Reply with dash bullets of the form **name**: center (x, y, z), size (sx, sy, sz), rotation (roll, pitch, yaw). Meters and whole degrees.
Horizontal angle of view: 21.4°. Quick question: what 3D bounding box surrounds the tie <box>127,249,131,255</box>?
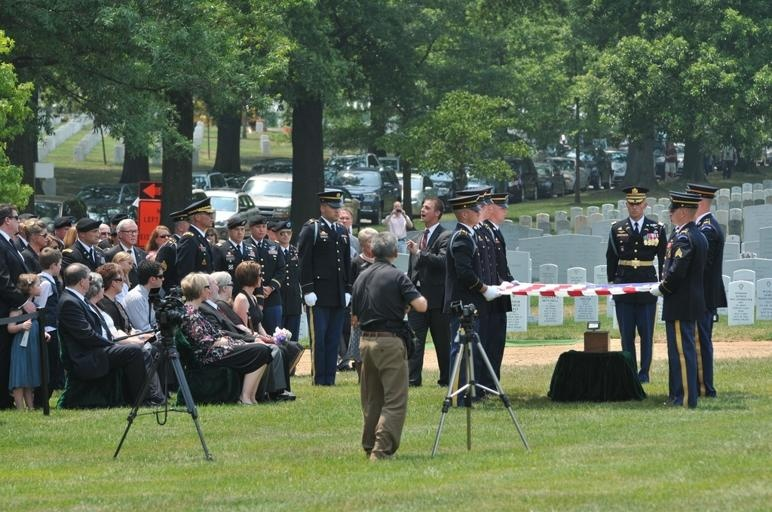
- **tie**: center (-6.182, -0.065, 48.487), size (0.126, 0.138, 0.037), rotation (-3, -15, -9)

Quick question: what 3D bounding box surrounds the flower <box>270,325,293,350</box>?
- **flower**: center (-2.499, 1.972, 47.629), size (0.415, 0.415, 0.209), rotation (0, 17, -6)

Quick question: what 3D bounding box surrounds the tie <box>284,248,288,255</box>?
- **tie**: center (-2.480, -0.097, 49.722), size (0.113, 0.128, 0.050), rotation (-1, -3, -8)

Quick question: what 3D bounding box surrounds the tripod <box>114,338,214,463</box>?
- **tripod**: center (-4.822, 3.215, 44.974), size (2.059, 2.570, 1.817), rotation (0, -1, 10)

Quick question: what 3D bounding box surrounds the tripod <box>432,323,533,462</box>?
- **tripod**: center (1.890, 3.052, 44.851), size (2.120, 2.760, 1.601), rotation (1, -1, -8)

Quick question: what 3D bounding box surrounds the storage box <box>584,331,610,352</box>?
- **storage box**: center (4.778, 2.076, 46.664), size (0.769, 0.590, 0.477), rotation (1, 2, 11)

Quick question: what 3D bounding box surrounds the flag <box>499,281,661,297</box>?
- **flag**: center (4.402, 0.805, 46.525), size (2.382, 0.384, 0.344), rotation (5, -3, 11)
